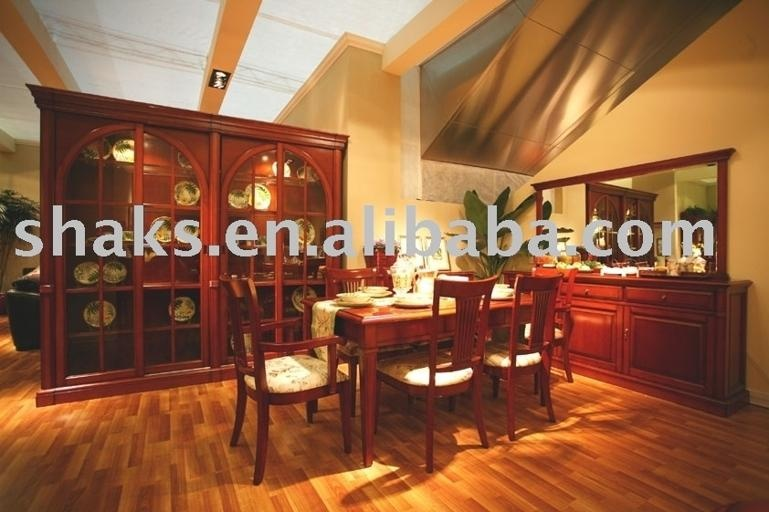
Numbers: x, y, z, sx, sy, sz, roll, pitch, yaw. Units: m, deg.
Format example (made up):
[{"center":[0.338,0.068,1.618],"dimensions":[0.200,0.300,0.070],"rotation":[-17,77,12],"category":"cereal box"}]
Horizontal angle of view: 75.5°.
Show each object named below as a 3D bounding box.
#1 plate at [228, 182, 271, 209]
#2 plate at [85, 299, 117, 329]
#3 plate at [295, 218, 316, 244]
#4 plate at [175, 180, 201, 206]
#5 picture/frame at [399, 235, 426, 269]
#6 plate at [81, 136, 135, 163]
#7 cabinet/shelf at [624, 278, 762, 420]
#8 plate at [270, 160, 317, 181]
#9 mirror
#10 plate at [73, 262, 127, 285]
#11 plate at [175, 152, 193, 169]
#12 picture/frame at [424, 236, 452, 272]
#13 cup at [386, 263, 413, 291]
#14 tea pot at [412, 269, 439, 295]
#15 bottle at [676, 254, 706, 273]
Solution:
[{"center":[-1.600,-0.716,5.967],"dimensions":[0.395,0.281,0.180],"rotation":[-2,-4,-20],"category":"plate"},{"center":[-3.091,0.625,5.384],"dimensions":[0.290,0.285,0.072],"rotation":[-5,9,-22],"category":"plate"},{"center":[-0.998,-0.310,6.274],"dimensions":[0.275,0.282,0.067],"rotation":[24,-19,-33],"category":"plate"},{"center":[-2.272,-0.727,5.705],"dimensions":[0.269,0.309,0.271],"rotation":[2,3,16],"category":"plate"},{"center":[0.471,-0.044,6.471],"dimensions":[0.432,0.425,0.099],"rotation":[2,-9,-23],"category":"picture/frame"},{"center":[-2.998,-1.156,5.420],"dimensions":[0.351,0.192,0.310],"rotation":[5,9,0],"category":"plate"},{"center":[3.240,0.969,5.133],"dimensions":[0.555,1.301,1.368],"rotation":[2,-2,-42],"category":"cabinet/shelf"},{"center":[-1.100,-1.036,6.179],"dimensions":[0.331,0.119,0.247],"rotation":[2,-2,-37],"category":"plate"},{"center":[2.968,-0.515,5.760],"dimensions":[0.107,0.956,1.640],"rotation":[8,-7,-45],"category":"mirror"},{"center":[-3.092,0.178,5.407],"dimensions":[0.498,0.287,0.089],"rotation":[-2,0,-9],"category":"plate"},{"center":[-2.297,-1.103,5.665],"dimensions":[0.182,0.182,0.031],"rotation":[-10,12,-30],"category":"plate"},{"center":[0.704,-0.031,6.757],"dimensions":[0.458,0.452,0.034],"rotation":[6,-16,-26],"category":"picture/frame"},{"center":[0.141,0.208,4.919],"dimensions":[0.252,0.274,0.255],"rotation":[0,-2,0],"category":"cup"},{"center":[0.397,0.259,4.905],"dimensions":[0.241,0.246,0.187],"rotation":[3,1,0],"category":"tea pot"},{"center":[3.338,0.076,5.391],"dimensions":[0.194,0.141,0.203],"rotation":[-1,1,0],"category":"bottle"}]
